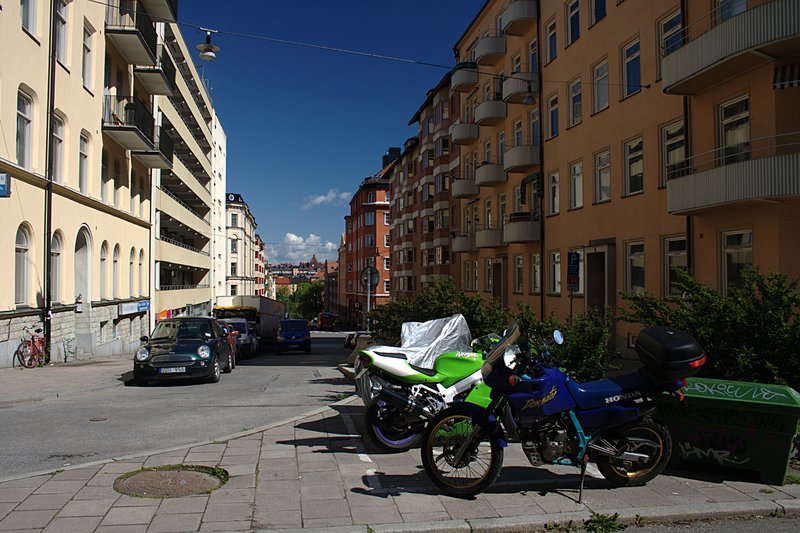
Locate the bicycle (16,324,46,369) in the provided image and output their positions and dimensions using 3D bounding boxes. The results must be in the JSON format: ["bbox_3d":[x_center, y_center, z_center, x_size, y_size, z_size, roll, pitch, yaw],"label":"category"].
[{"bbox_3d":[-12.031,2.659,22.637,2.104,1.343,0.931,-11,-15,43],"label":"bicycle"}]
